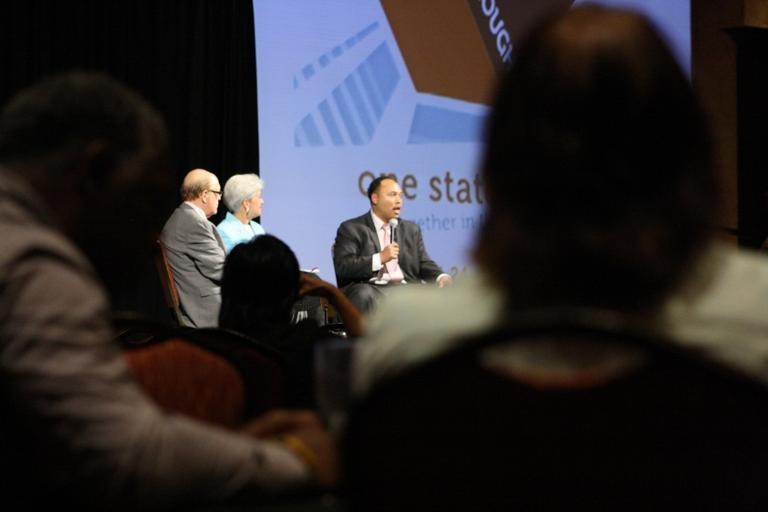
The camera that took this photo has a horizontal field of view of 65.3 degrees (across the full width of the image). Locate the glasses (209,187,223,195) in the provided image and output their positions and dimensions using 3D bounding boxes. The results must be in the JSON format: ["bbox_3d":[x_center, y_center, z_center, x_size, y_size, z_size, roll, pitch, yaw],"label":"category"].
[{"bbox_3d":[-1.203,-0.467,4.275,0.079,0.026,0.084,8,0,3],"label":"glasses"}]

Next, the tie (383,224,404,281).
[{"bbox_3d":[0.040,-0.028,4.768,0.225,0.413,0.102,-5,3,-41],"label":"tie"}]
